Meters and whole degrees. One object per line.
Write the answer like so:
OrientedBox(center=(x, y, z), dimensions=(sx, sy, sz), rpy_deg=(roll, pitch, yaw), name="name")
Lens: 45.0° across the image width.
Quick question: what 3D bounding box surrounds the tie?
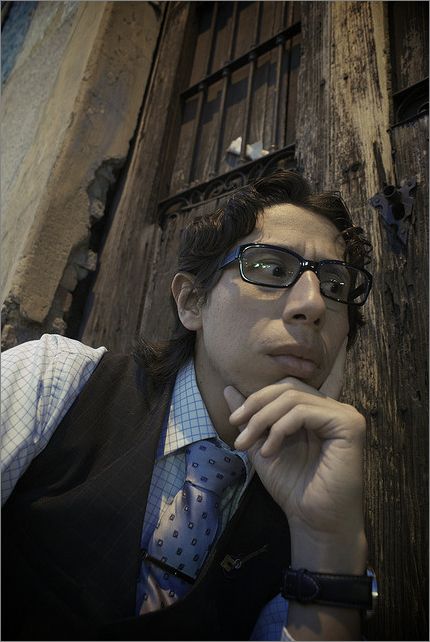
OrientedBox(center=(-0.078, 0.587, 1.434), dimensions=(0.216, 0.566, 0.169), rpy_deg=(29, -40, -9), name="tie")
